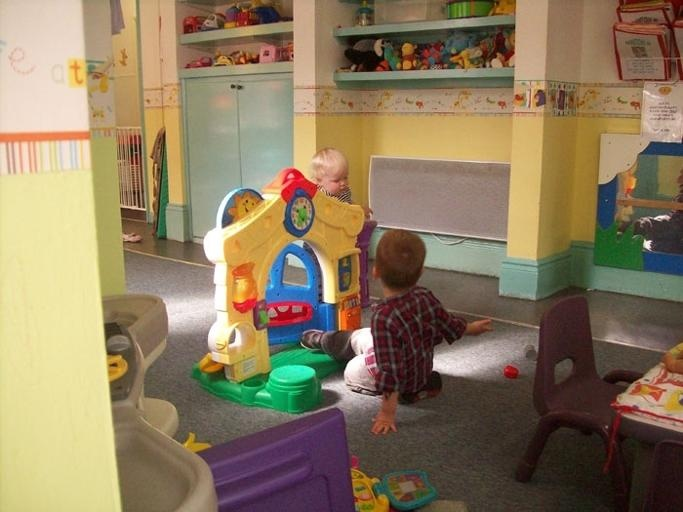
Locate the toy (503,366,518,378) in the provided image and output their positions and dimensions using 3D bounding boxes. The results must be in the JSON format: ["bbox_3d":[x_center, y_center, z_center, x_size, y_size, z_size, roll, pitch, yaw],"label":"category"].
[{"bbox_3d":[0.790,0.544,2.485,0.050,0.021,0.054,-8,32,13],"label":"toy"}]

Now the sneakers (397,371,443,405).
[{"bbox_3d":[0.354,0.569,2.308,0.078,0.101,0.257,2,18,39],"label":"sneakers"}]

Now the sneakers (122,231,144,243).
[{"bbox_3d":[-2.134,-0.191,5.442,0.131,0.104,0.335,-3,7,-25],"label":"sneakers"}]

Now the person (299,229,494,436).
[{"bbox_3d":[0.236,0.236,2.273,0.488,0.753,0.604,-6,14,-21],"label":"person"}]

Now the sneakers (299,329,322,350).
[{"bbox_3d":[-0.149,0.417,2.606,0.134,0.065,0.054,-1,-7,30],"label":"sneakers"}]
